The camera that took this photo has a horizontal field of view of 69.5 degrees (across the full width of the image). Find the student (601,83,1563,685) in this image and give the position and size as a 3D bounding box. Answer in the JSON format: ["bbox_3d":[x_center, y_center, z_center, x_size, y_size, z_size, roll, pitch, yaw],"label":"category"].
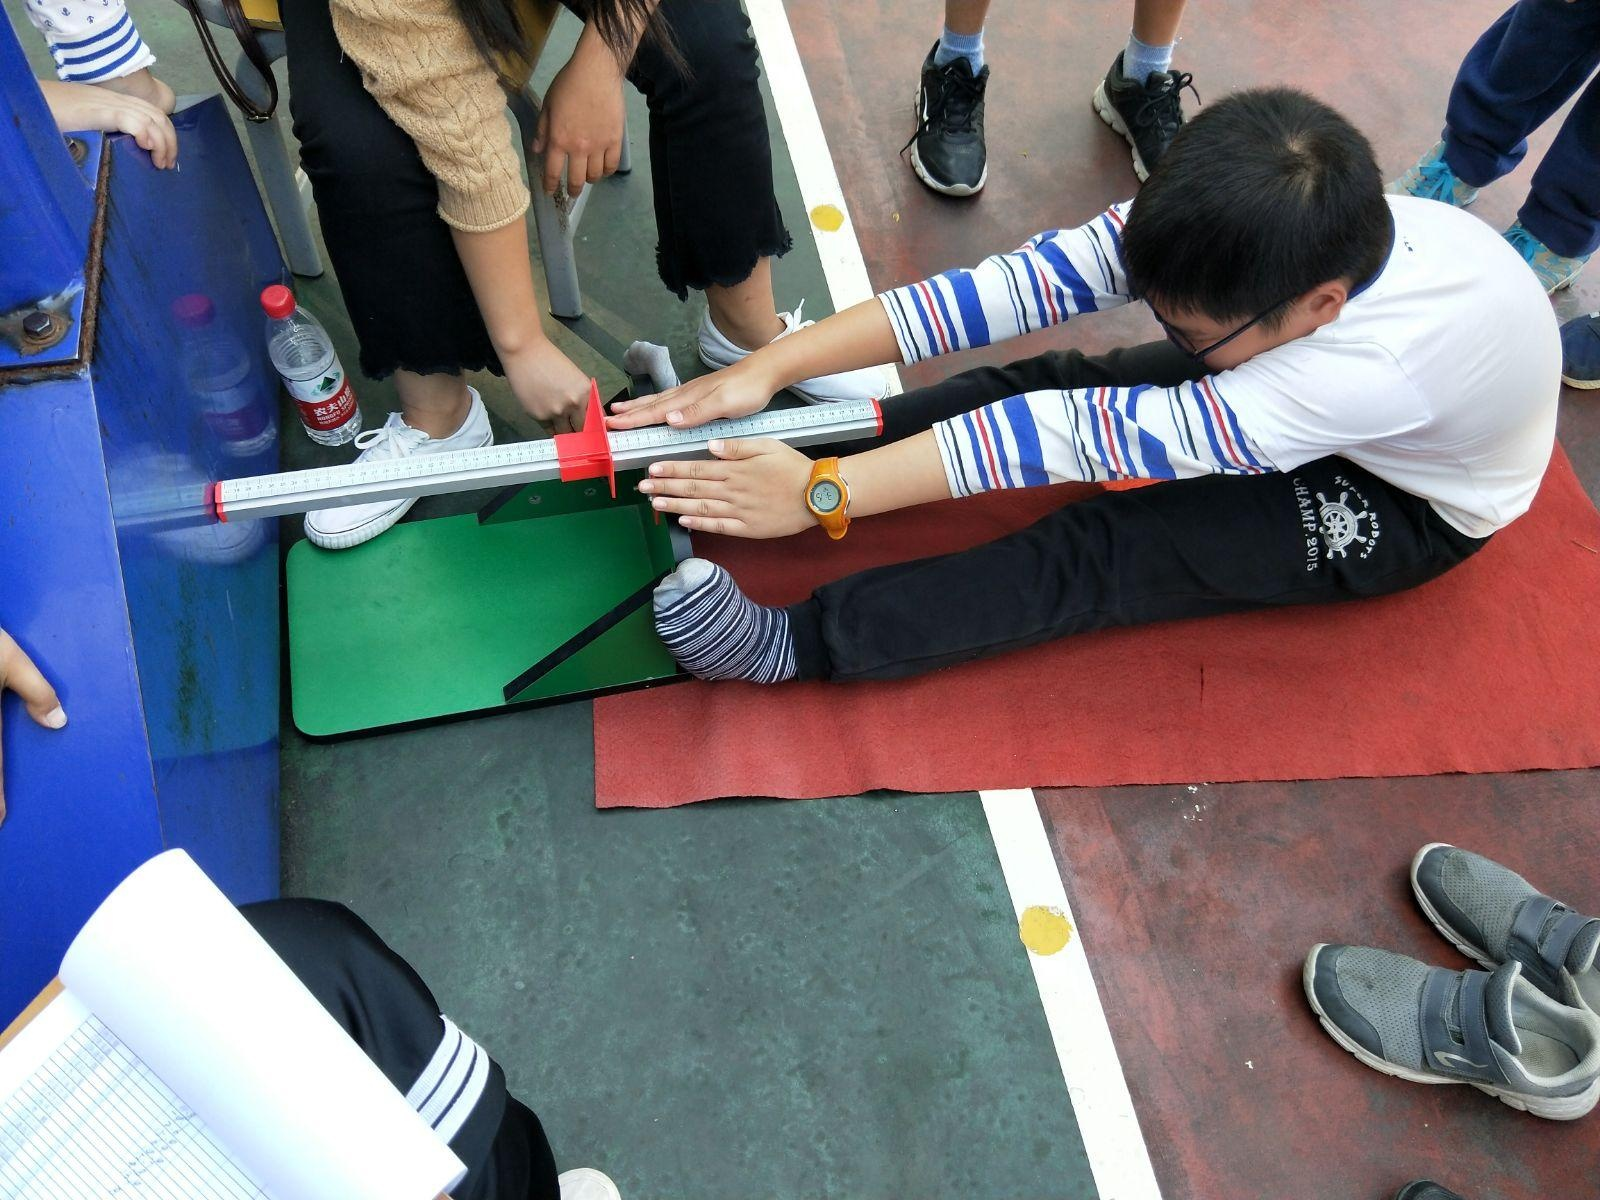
[{"bbox_3d":[0.474,-0.420,2.035,1.567,0.986,0.783,-7,45,-14],"label":"student"}]

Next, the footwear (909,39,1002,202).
[{"bbox_3d":[0.343,-1.089,2.668,0.142,0.164,0.397,-1,75,1],"label":"footwear"}]

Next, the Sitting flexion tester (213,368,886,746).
[{"bbox_3d":[-0.310,-0.165,2.150,1.354,0.533,0.518,-8,70,-19],"label":"Sitting flexion tester"}]

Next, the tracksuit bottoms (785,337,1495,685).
[{"bbox_3d":[0.597,-0.030,2.287,1.132,0.307,0.674,-13,63,4],"label":"tracksuit bottoms"}]

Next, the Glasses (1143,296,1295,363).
[{"bbox_3d":[0.669,-0.402,1.831,0.125,0.040,0.127,-35,38,7],"label":"Glasses"}]

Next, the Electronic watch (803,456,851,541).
[{"bbox_3d":[0.051,-0.170,1.986,0.062,0.120,0.136,-8,85,12],"label":"Electronic watch"}]

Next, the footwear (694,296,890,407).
[{"bbox_3d":[-0.020,-0.462,2.169,0.354,0.154,0.137,21,66,3],"label":"footwear"}]

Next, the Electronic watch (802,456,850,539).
[{"bbox_3d":[0.042,-0.179,1.978,0.075,0.126,0.074,2,56,-2],"label":"Electronic watch"}]
